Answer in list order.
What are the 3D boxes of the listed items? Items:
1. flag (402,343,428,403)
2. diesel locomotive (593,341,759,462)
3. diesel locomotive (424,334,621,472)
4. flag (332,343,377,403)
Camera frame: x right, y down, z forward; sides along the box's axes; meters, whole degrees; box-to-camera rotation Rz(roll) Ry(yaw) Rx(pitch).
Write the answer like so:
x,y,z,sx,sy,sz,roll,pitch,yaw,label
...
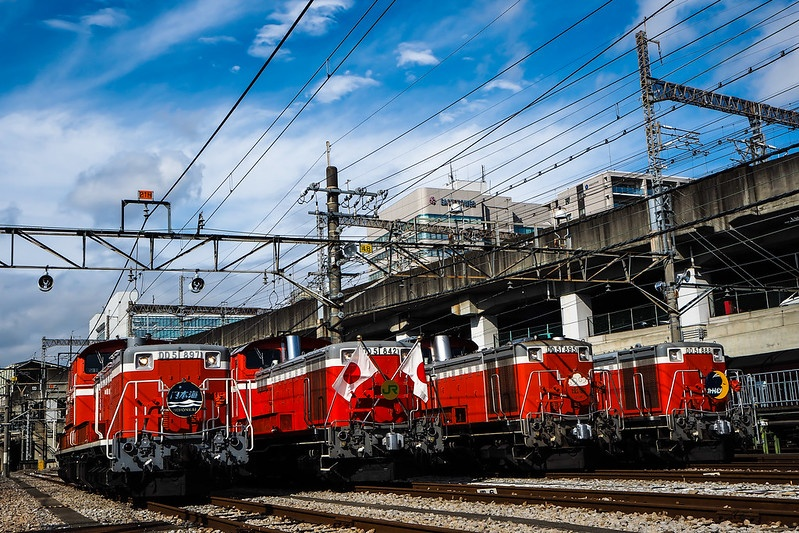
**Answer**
x,y,z,sx,sy,sz,roll,pitch,yaw,label
0.434,3.396,30.409,1.063,1.897,0.164,-2,-6,30,flag
9.785,5.082,35.620,4.193,3.747,8.240,-2,-8,-5,diesel locomotive
3.820,4.609,31.419,5.290,3.279,2.543,-5,-3,35,diesel locomotive
-1.548,3.395,29.731,1.767,1.766,0.222,20,-11,-7,flag
